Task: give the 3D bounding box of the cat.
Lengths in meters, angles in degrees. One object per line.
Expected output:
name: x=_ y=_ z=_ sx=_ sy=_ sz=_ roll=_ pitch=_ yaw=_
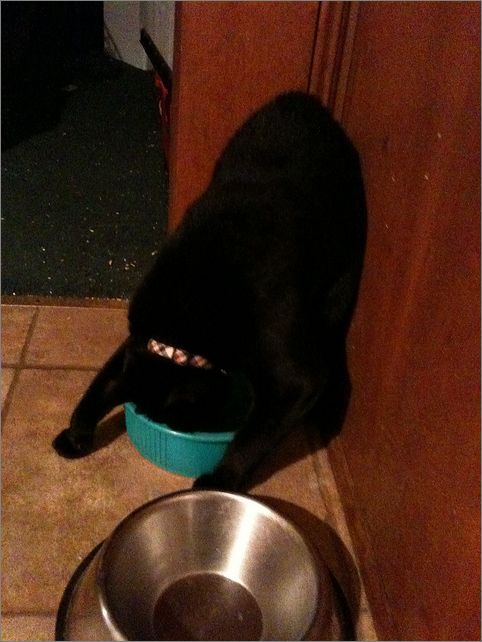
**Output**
cat: x=-0.035 y=-0.018 z=2.007 sx=0.783 sy=0.974 sz=0.565 roll=-14 pitch=42 yaw=-21
